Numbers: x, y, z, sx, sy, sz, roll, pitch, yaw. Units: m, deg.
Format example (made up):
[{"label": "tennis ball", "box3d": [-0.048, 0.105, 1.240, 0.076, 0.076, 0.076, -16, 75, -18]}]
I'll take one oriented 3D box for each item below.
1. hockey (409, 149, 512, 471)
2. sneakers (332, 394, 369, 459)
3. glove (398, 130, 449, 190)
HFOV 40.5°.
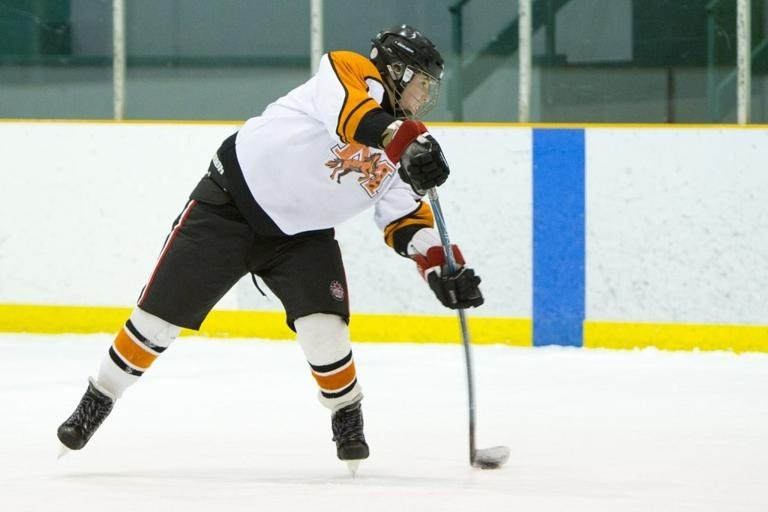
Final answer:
[{"label": "hockey", "box3d": [0.336, 0.088, 5.019, 0.267, 1.837, 0.266, -1, -11, -34]}, {"label": "sneakers", "box3d": [-0.158, 0.831, 4.913, 0.119, 0.155, 0.350, -9, 11, -2]}, {"label": "glove", "box3d": [0.145, -0.423, 4.722, 0.143, 0.232, 0.346, -10, 8, -30]}]
